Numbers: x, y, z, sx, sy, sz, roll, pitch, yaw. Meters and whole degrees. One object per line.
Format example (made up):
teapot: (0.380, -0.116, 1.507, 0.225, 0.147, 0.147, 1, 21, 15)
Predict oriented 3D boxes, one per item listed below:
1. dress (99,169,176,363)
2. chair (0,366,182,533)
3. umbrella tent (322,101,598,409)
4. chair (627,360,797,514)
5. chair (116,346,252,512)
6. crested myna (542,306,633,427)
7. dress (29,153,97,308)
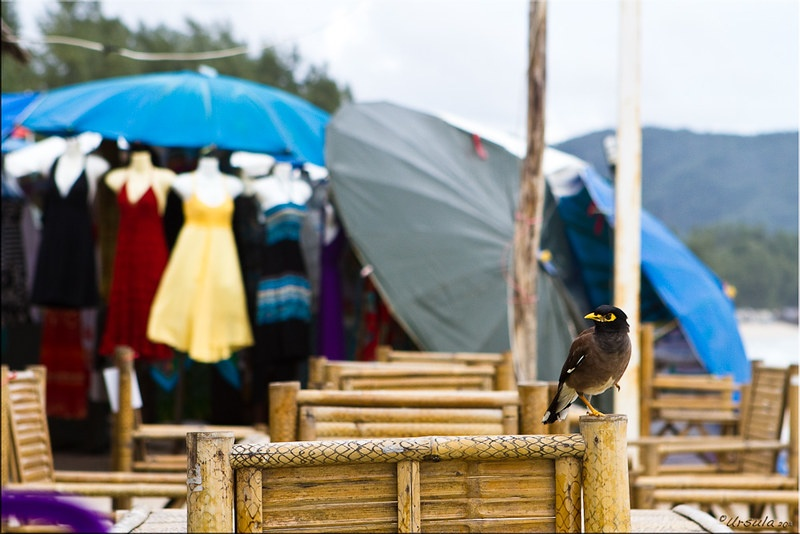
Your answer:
dress: (-1.643, 0.032, 11.702, 0.368, 1.068, 0.447, -2, -2, 9)
chair: (-1.829, 1.103, 11.229, 0.927, 1.464, 0.877, -1, -6, 1)
umbrella tent: (0.149, -0.109, 11.245, 1.158, 1.695, 0.521, -21, 6, -16)
chair: (1.923, 1.061, 11.630, 0.991, 1.324, 0.814, 1, -8, 6)
chair: (-1.296, 1.024, 11.882, 0.955, 1.316, 0.848, 1, -2, 0)
crested myna: (1.025, 0.542, 10.428, 0.234, 0.618, 0.494, 0, -3, -42)
dress: (-2.210, -0.218, 12.258, 0.481, 0.972, 0.243, -1, -2, -27)
